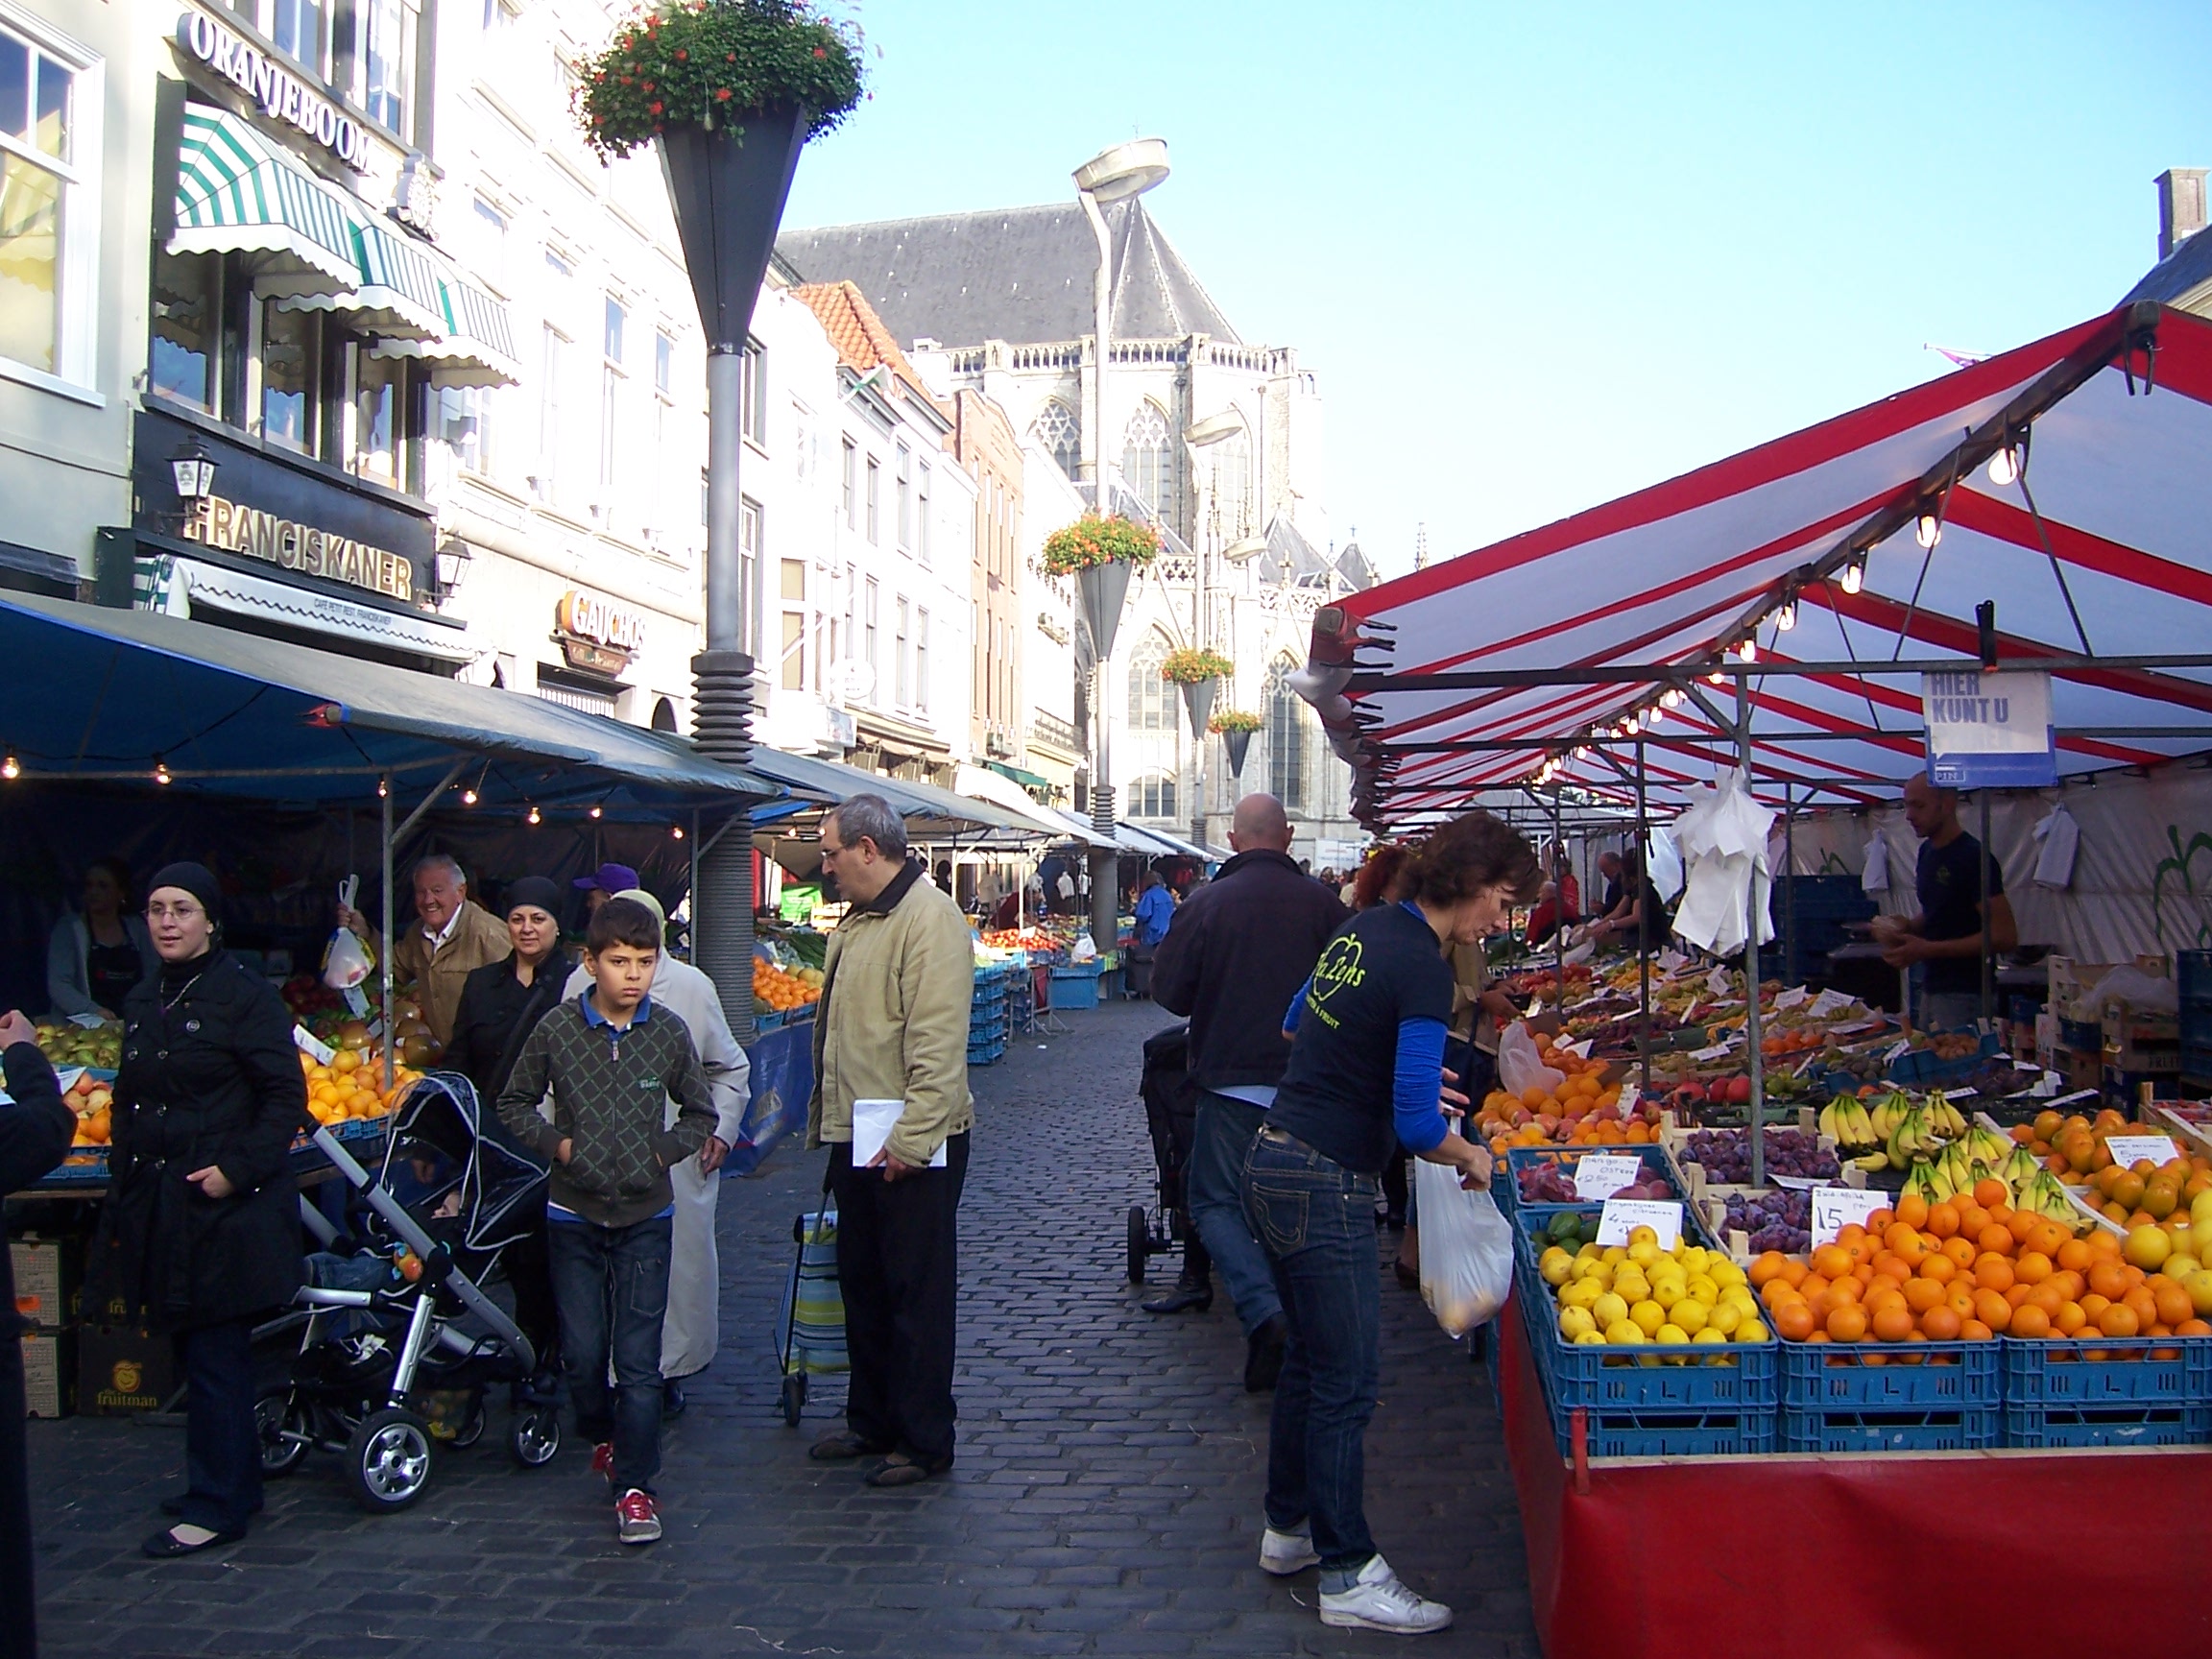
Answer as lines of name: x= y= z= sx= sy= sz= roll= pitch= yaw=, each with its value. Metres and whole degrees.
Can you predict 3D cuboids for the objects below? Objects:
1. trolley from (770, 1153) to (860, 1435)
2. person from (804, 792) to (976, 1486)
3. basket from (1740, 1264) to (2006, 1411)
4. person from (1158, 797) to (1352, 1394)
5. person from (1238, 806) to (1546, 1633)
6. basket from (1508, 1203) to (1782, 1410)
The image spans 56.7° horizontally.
trolley: x=-1.271 y=1.878 z=8.460 sx=0.374 sy=0.943 sz=0.423 roll=6 pitch=-12 yaw=5
person: x=-0.825 y=1.184 z=7.890 sx=0.583 sy=2.579 sz=0.662 roll=1 pitch=-5 yaw=-8
basket: x=2.245 y=1.572 z=6.162 sx=0.558 sy=0.270 sz=0.735 roll=5 pitch=2 yaw=6
person: x=0.570 y=1.088 z=8.776 sx=0.879 sy=2.390 sz=1.004 roll=0 pitch=0 yaw=3
person: x=0.877 y=1.246 z=6.825 sx=1.023 sy=2.479 sz=0.894 roll=0 pitch=-1 yaw=-35
basket: x=1.684 y=1.488 z=6.330 sx=0.684 sy=0.365 sz=1.470 roll=0 pitch=0 yaw=2
